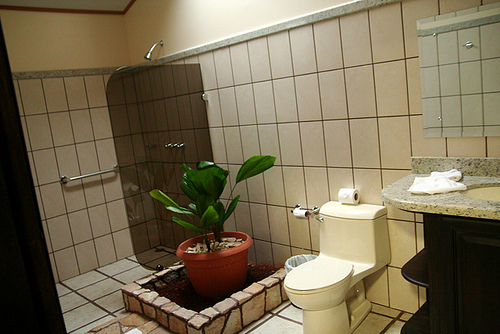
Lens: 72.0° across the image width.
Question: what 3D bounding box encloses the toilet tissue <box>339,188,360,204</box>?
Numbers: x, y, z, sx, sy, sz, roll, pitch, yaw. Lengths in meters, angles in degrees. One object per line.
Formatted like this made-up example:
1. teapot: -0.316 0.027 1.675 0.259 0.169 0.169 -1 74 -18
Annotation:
1. toilet tissue: 0.700 0.186 2.441 0.126 0.110 0.102 -1 10 43

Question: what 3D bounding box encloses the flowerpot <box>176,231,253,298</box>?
1. flowerpot: -0.254 0.810 2.824 0.560 0.354 0.589 -8 -1 36

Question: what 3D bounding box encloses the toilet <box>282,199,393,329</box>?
1. toilet: 0.588 0.689 2.284 0.443 0.830 0.764 5 16 44

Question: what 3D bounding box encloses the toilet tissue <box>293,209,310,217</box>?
1. toilet tissue: 0.371 0.341 2.567 0.081 0.050 0.034 7 34 31

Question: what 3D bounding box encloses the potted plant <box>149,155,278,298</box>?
1. potted plant: -0.305 0.511 2.950 0.828 1.093 1.107 -10 2 -38
